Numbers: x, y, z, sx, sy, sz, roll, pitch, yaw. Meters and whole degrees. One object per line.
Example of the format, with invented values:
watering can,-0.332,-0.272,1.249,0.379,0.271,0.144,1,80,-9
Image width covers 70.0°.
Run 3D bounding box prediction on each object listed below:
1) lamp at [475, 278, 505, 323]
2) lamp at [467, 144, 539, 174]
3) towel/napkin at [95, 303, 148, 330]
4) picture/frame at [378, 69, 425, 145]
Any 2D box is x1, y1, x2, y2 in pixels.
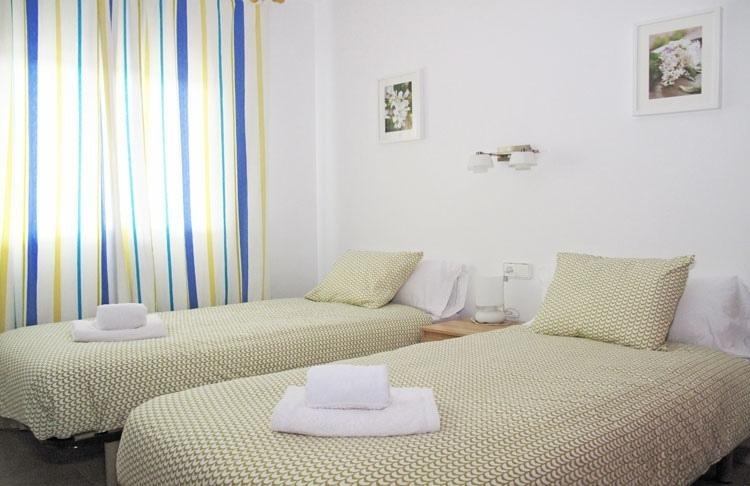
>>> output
lamp,0.823,0.394,3.836,0.208,0.326,0.239,1,13,10
lamp,0.935,-0.606,3.882,0.485,0.207,0.307,3,12,22
towel/napkin,-1.492,0.434,3.165,0.225,0.114,0.172,3,-13,-26
picture/frame,0.214,-1.134,4.485,0.486,0.557,0.117,8,16,37
